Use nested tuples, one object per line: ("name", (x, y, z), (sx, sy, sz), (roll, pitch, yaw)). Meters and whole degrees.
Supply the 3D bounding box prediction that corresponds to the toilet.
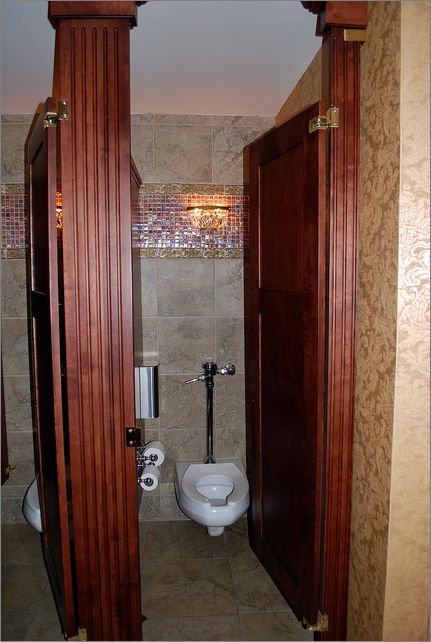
("toilet", (-0.020, 0.921, 2.643), (0.326, 0.313, 0.519), (1, 6, -6))
